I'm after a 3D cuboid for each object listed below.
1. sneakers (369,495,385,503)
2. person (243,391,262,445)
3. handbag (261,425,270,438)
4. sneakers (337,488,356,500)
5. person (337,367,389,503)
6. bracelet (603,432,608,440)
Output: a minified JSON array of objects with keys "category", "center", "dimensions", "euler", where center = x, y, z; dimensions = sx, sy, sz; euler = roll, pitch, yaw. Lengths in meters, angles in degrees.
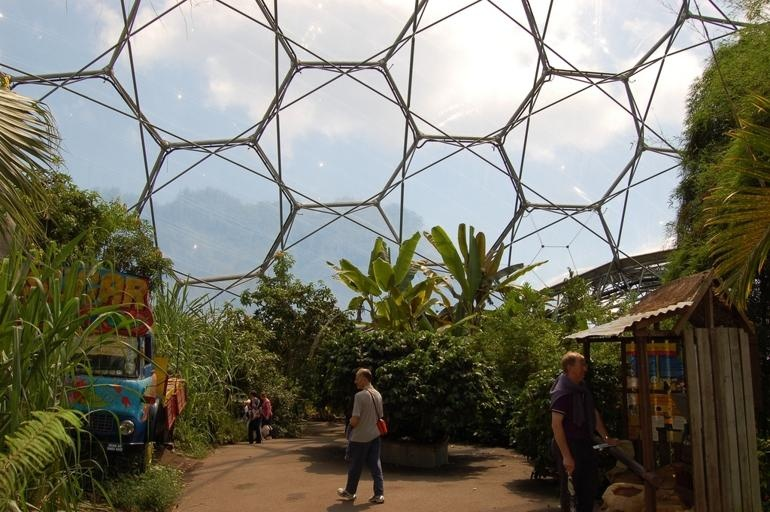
[{"category":"sneakers","center":[-0.115,4.498,11.468],"dimensions":[0.113,0.116,0.242],"euler":[8,-7,-37]},{"category":"person","center":[-3.720,4.577,17.757],"dimensions":[0.468,1.370,0.996],"euler":[3,-6,-16]},{"category":"handbag","center":[-3.456,5.122,18.193],"dimensions":[0.231,0.276,0.316],"euler":[7,-40,-5]},{"category":"sneakers","center":[-0.690,4.445,11.533],"dimensions":[0.337,0.161,0.166],"euler":[21,-12,12]},{"category":"person","center":[-0.356,3.323,11.529],"dimensions":[0.812,2.431,0.557],"euler":[3,-6,-17]},{"category":"bracelet","center":[3.391,2.782,9.573],"dimensions":[0.096,0.075,0.103],"euler":[0,-12,12]}]
